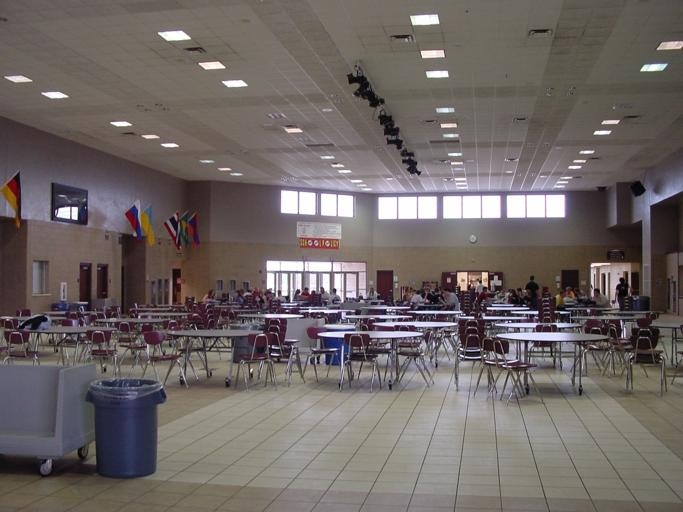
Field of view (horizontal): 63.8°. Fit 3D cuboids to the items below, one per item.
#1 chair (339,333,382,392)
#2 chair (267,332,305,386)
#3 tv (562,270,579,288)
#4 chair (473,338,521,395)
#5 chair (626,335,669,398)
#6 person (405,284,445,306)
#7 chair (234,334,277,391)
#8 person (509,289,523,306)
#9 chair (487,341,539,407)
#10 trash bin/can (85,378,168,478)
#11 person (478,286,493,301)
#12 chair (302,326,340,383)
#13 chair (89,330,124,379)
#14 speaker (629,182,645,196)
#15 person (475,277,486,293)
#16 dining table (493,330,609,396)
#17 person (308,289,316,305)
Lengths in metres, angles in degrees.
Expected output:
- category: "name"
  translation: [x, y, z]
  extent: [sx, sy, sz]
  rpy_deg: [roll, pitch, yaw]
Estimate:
- category: "chair"
  translation: [0.490, 2.141, 11.412]
  extent: [0.646, 1.183, 0.811]
  rpy_deg: [0, 2, 34]
- category: "chair"
  translation: [-1.138, 2.222, 12.329]
  extent: [0.631, 0.848, 0.607]
  rpy_deg: [-11, 6, -22]
- category: "tv"
  translation: [14.376, 1.369, 34.184]
  extent: [0.974, 1.238, 0.162]
  rpy_deg: [2, -4, 10]
- category: "chair"
  translation: [3.028, 2.149, 10.332]
  extent: [0.735, 0.991, 0.757]
  rpy_deg: [18, -6, -15]
- category: "chair"
  translation: [6.359, 2.147, 11.300]
  extent: [0.619, 0.917, 0.671]
  rpy_deg: [-8, -17, 4]
- category: "person"
  translation: [4.069, 1.949, 25.779]
  extent: [1.304, 0.568, 1.374]
  rpy_deg: [-2, -3, 19]
- category: "chair"
  translation: [-1.817, 2.165, 11.519]
  extent: [0.819, 1.180, 0.784]
  rpy_deg: [-1, -2, 43]
- category: "person"
  translation: [8.946, 2.111, 27.975]
  extent: [0.393, 0.500, 1.350]
  rpy_deg: [11, 7, 20]
- category: "chair"
  translation: [3.145, 2.086, 10.303]
  extent: [0.628, 0.982, 0.817]
  rpy_deg: [0, 1, -18]
- category: "trash bin/can"
  translation: [-2.581, 2.104, 6.714]
  extent: [1.115, 1.157, 0.957]
  rpy_deg: [1, -8, -6]
- category: "person"
  translation: [7.614, 1.960, 28.763]
  extent: [0.566, 0.990, 0.507]
  rpy_deg: [-8, 13, -27]
- category: "chair"
  translation: [-0.413, 2.350, 13.550]
  extent: [1.069, 1.697, 1.111]
  rpy_deg: [3, -5, -32]
- category: "chair"
  translation: [-5.273, 2.147, 12.229]
  extent: [0.737, 1.075, 0.819]
  rpy_deg: [-2, 1, -16]
- category: "speaker"
  translation: [15.541, -3.597, 28.584]
  extent: [0.690, 0.708, 0.520]
  rpy_deg: [41, 22, 11]
- category: "person"
  translation: [8.383, 1.723, 32.779]
  extent: [0.626, 0.592, 1.788]
  rpy_deg: [-6, 10, 7]
- category: "dining table"
  translation: [4.273, 1.766, 11.009]
  extent: [1.750, 0.931, 1.837]
  rpy_deg: [0, -4, 4]
- category: "person"
  translation: [-1.395, 2.146, 27.907]
  extent: [0.481, 0.965, 0.529]
  rpy_deg: [-2, -4, 22]
